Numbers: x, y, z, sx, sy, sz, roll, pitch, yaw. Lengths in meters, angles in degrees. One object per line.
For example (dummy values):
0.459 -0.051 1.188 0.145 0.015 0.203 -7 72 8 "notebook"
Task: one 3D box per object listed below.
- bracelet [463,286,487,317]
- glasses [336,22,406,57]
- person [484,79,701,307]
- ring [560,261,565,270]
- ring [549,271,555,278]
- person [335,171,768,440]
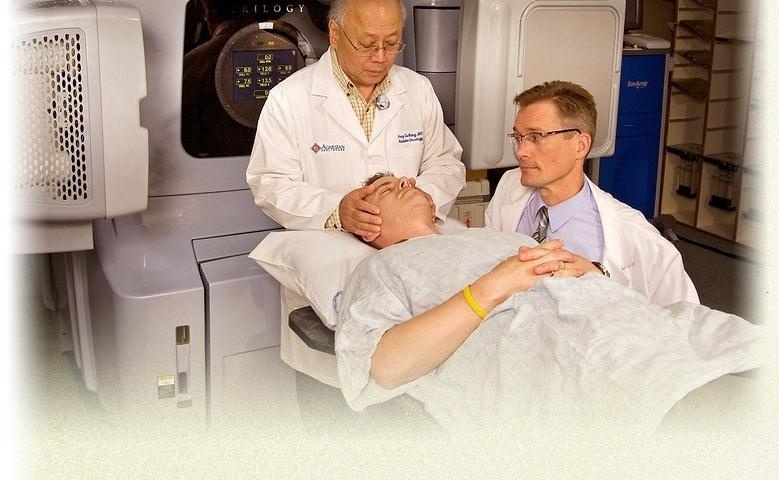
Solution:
0.232 0.177 1.444 0.028 0.076 0.066 -40 -25 4 "bracelet"
-0.080 -0.806 2.115 0.232 0.102 0.070 -2 11 -8 "glasses"
0.775 -0.155 2.242 0.513 0.957 1.092 -12 19 -28 "person"
0.521 0.079 1.566 0.010 0.025 0.019 6 -4 17 "ring"
0.486 0.104 1.543 0.013 0.018 0.005 -1 -15 -9 "ring"
0.419 0.307 1.551 1.157 0.587 0.519 5 12 26 "person"
